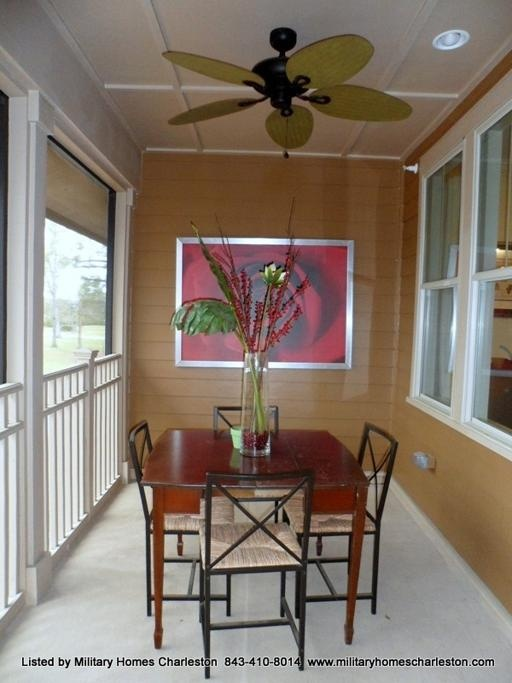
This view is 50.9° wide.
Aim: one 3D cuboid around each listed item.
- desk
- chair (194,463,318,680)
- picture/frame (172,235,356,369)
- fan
[{"bbox_3d":[-0.006,0.833,2.511,1.020,0.654,0.955,2,4,11],"label":"desk"},{"bbox_3d":[0.003,0.825,2.457,0.472,0.861,1.266,2,4,3],"label":"chair"},{"bbox_3d":[0.059,-0.300,3.680,1.077,0.775,0.037,0,0,-3],"label":"picture/frame"},{"bbox_3d":[0.116,-0.863,1.980,0.771,0.248,0.780,-5,-6,35],"label":"fan"}]
